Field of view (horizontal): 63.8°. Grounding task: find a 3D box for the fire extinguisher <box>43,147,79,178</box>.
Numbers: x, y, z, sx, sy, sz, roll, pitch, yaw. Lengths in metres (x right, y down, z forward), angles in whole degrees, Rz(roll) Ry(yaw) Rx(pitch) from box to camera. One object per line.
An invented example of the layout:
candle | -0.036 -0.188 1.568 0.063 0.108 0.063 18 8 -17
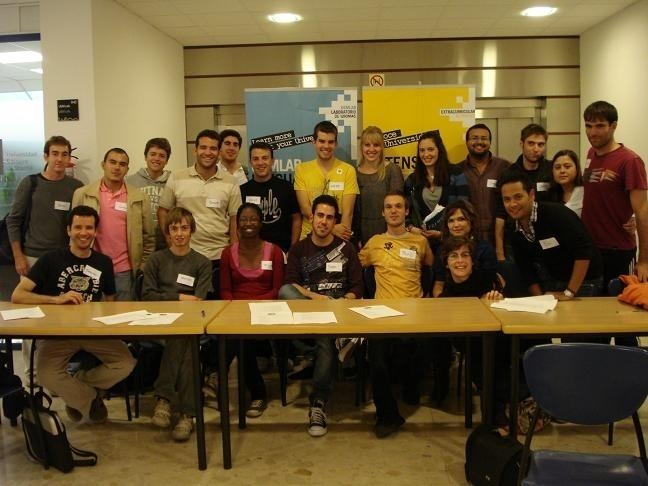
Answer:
fire extinguisher | -2.546 -0.779 5.156 0.335 0.428 0.130 1 14 -2

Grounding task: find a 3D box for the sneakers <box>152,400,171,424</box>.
sneakers | -1.176 1.223 3.745 0.097 0.104 0.242 7 -8 -16

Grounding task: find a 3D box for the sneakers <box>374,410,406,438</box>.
sneakers | 0.449 1.258 3.620 0.103 0.111 0.265 -9 -7 38

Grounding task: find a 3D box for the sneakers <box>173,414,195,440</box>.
sneakers | -0.969 1.283 3.600 0.085 0.098 0.216 2 -8 -3
